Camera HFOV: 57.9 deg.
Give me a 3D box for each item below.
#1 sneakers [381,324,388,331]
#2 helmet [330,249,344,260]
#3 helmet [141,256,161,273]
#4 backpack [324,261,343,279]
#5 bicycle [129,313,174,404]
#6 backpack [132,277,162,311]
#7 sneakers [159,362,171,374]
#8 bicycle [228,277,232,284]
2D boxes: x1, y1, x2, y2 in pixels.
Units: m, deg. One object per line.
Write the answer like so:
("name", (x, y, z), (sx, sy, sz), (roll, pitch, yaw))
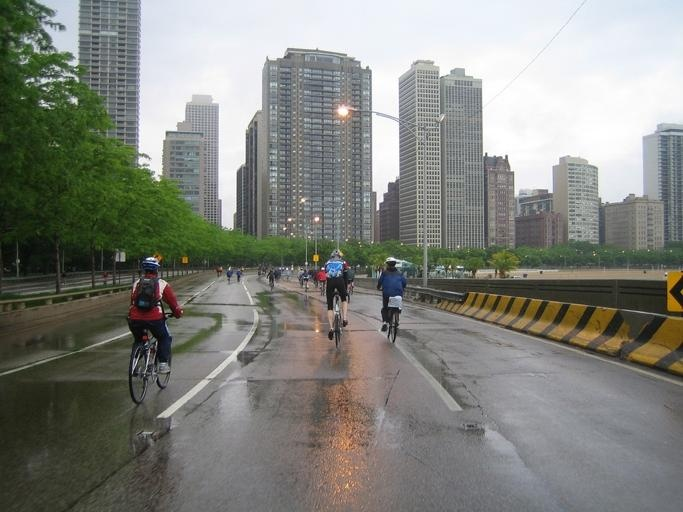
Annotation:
("sneakers", (1.019, 1.757, 14.867), (0.135, 0.240, 0.173), (-2, 9, 4))
("helmet", (-0.116, -0.089, 14.821), (0.282, 0.381, 0.272), (0, -6, -2))
("helmet", (-3.251, 0.150, 10.261), (0.216, 0.249, 0.599), (-23, 17, -34))
("backpack", (-0.170, 0.306, 14.528), (0.541, 0.597, 0.321), (1, -6, -1))
("bicycle", (-3.196, 1.809, 10.056), (0.657, 0.923, 1.426), (1, 5, 1))
("backpack", (-3.090, 0.615, 9.783), (0.324, 0.520, 0.512), (2, 3, -3))
("sneakers", (-2.967, 1.861, 10.271), (0.086, 0.117, 0.254), (1, 1, 0))
("bicycle", (-11.475, 2.502, 62.452), (0.502, 0.671, 1.019), (1, 3, -3))
